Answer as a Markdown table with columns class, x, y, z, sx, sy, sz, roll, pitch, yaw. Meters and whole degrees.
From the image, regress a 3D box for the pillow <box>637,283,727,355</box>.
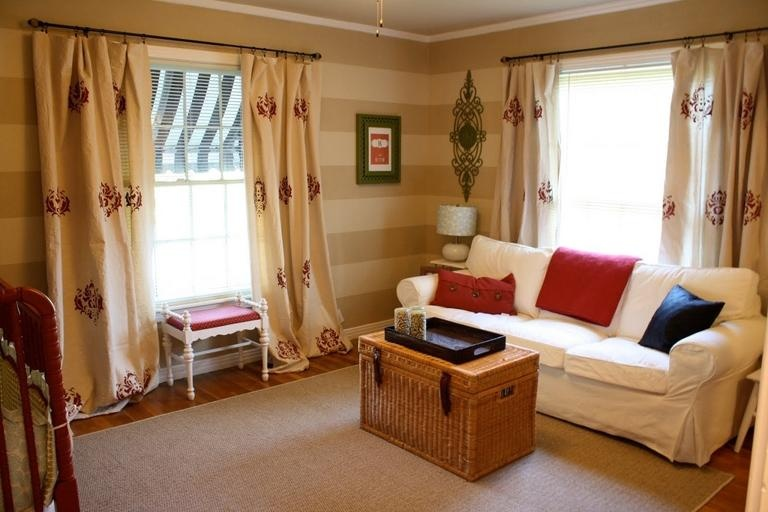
| class | x | y | z | sx | sy | sz | roll | pitch | yaw |
| --- | --- | --- | --- | --- | --- | --- | --- | --- | --- |
| pillow | 2.168 | 0.466 | 4.361 | 0.191 | 0.485 | 0.465 | 27 | -3 | -35 |

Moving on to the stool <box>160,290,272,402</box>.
| class | x | y | z | sx | sy | sz | roll | pitch | yaw |
| --- | --- | --- | --- | --- | --- | --- | --- | --- | --- |
| stool | -1.460 | 0.781 | 5.252 | 0.805 | 0.810 | 0.500 | -7 | 11 | -41 |

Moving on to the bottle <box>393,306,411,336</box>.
| class | x | y | z | sx | sy | sz | roll | pitch | yaw |
| --- | --- | --- | --- | --- | --- | --- | --- | --- | --- |
| bottle | 0.111 | 0.486 | 4.429 | 0.147 | 0.250 | 0.158 | 1 | 2 | 0 |

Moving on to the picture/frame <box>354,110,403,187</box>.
| class | x | y | z | sx | sy | sz | roll | pitch | yaw |
| --- | --- | --- | --- | --- | --- | --- | --- | --- | --- |
| picture/frame | -0.078 | -1.126 | 6.150 | 0.730 | 0.930 | 0.080 | -6 | 13 | -38 |

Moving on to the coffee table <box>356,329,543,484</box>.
| class | x | y | z | sx | sy | sz | roll | pitch | yaw |
| --- | --- | --- | --- | --- | --- | --- | --- | --- | --- |
| coffee table | 0.551 | 0.772 | 4.258 | 0.853 | 0.754 | 1.182 | -9 | 13 | -41 |
